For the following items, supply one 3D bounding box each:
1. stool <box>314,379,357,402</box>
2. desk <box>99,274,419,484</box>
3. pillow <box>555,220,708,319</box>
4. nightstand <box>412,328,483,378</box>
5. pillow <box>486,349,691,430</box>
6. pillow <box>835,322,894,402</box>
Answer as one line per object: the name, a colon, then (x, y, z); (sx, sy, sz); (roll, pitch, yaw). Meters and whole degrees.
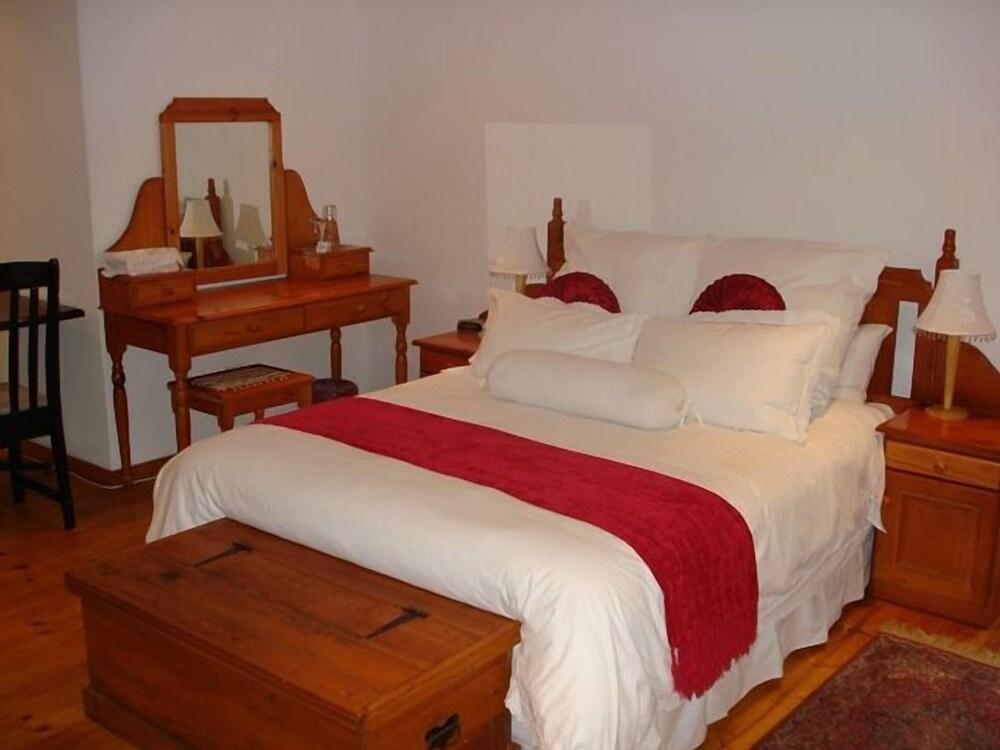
stool: (-1.012, 0.085, 4.501); (0.204, 0.136, 0.204); (2, 9, 4)
desk: (-1.357, -0.074, 4.446); (0.663, 1.086, 1.714); (12, 17, 33)
pillow: (0.658, -0.487, 3.546); (0.522, 0.328, 0.167); (11, -5, 36)
nightstand: (-0.254, -0.137, 4.153); (0.308, 0.286, 0.278); (7, 12, 35)
pillow: (0.349, 0.050, 3.005); (0.900, 0.221, 0.286); (6, 37, 34)
pillow: (1.594, -0.055, 3.217); (0.316, 0.313, 0.093); (4, 4, -36)
